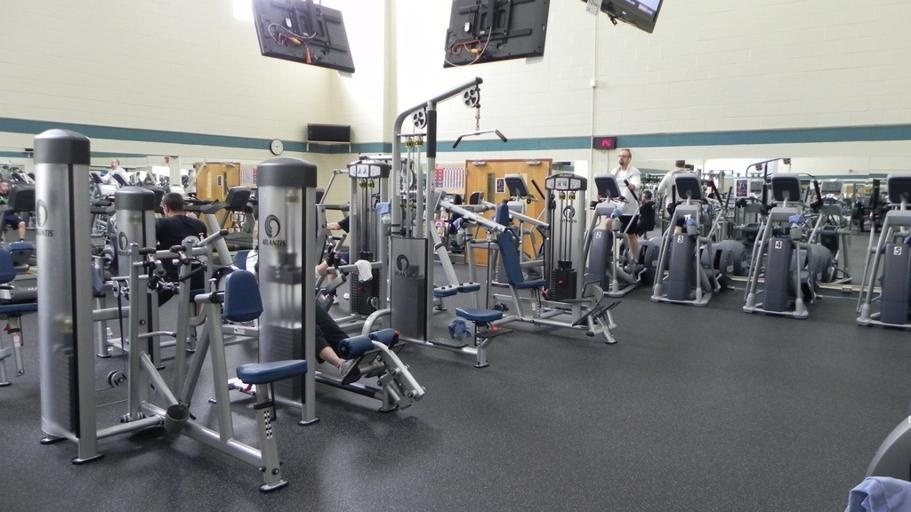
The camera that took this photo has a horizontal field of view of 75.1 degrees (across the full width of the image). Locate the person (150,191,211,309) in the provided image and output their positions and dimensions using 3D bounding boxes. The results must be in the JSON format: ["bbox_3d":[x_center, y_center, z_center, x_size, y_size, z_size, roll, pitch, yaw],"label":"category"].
[{"bbox_3d":[-3.368,-0.069,7.275,0.618,1.431,1.963,-6,8,-25],"label":"person"}]

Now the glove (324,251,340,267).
[{"bbox_3d":[-1.490,0.037,7.189,0.116,0.108,0.203,-13,3,-23],"label":"glove"}]

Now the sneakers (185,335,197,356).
[{"bbox_3d":[-3.245,1.100,7.282,0.109,0.200,0.336,-5,8,-20],"label":"sneakers"}]

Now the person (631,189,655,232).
[{"bbox_3d":[3.319,-0.755,10.370,0.253,0.792,0.769,1,8,22],"label":"person"}]
